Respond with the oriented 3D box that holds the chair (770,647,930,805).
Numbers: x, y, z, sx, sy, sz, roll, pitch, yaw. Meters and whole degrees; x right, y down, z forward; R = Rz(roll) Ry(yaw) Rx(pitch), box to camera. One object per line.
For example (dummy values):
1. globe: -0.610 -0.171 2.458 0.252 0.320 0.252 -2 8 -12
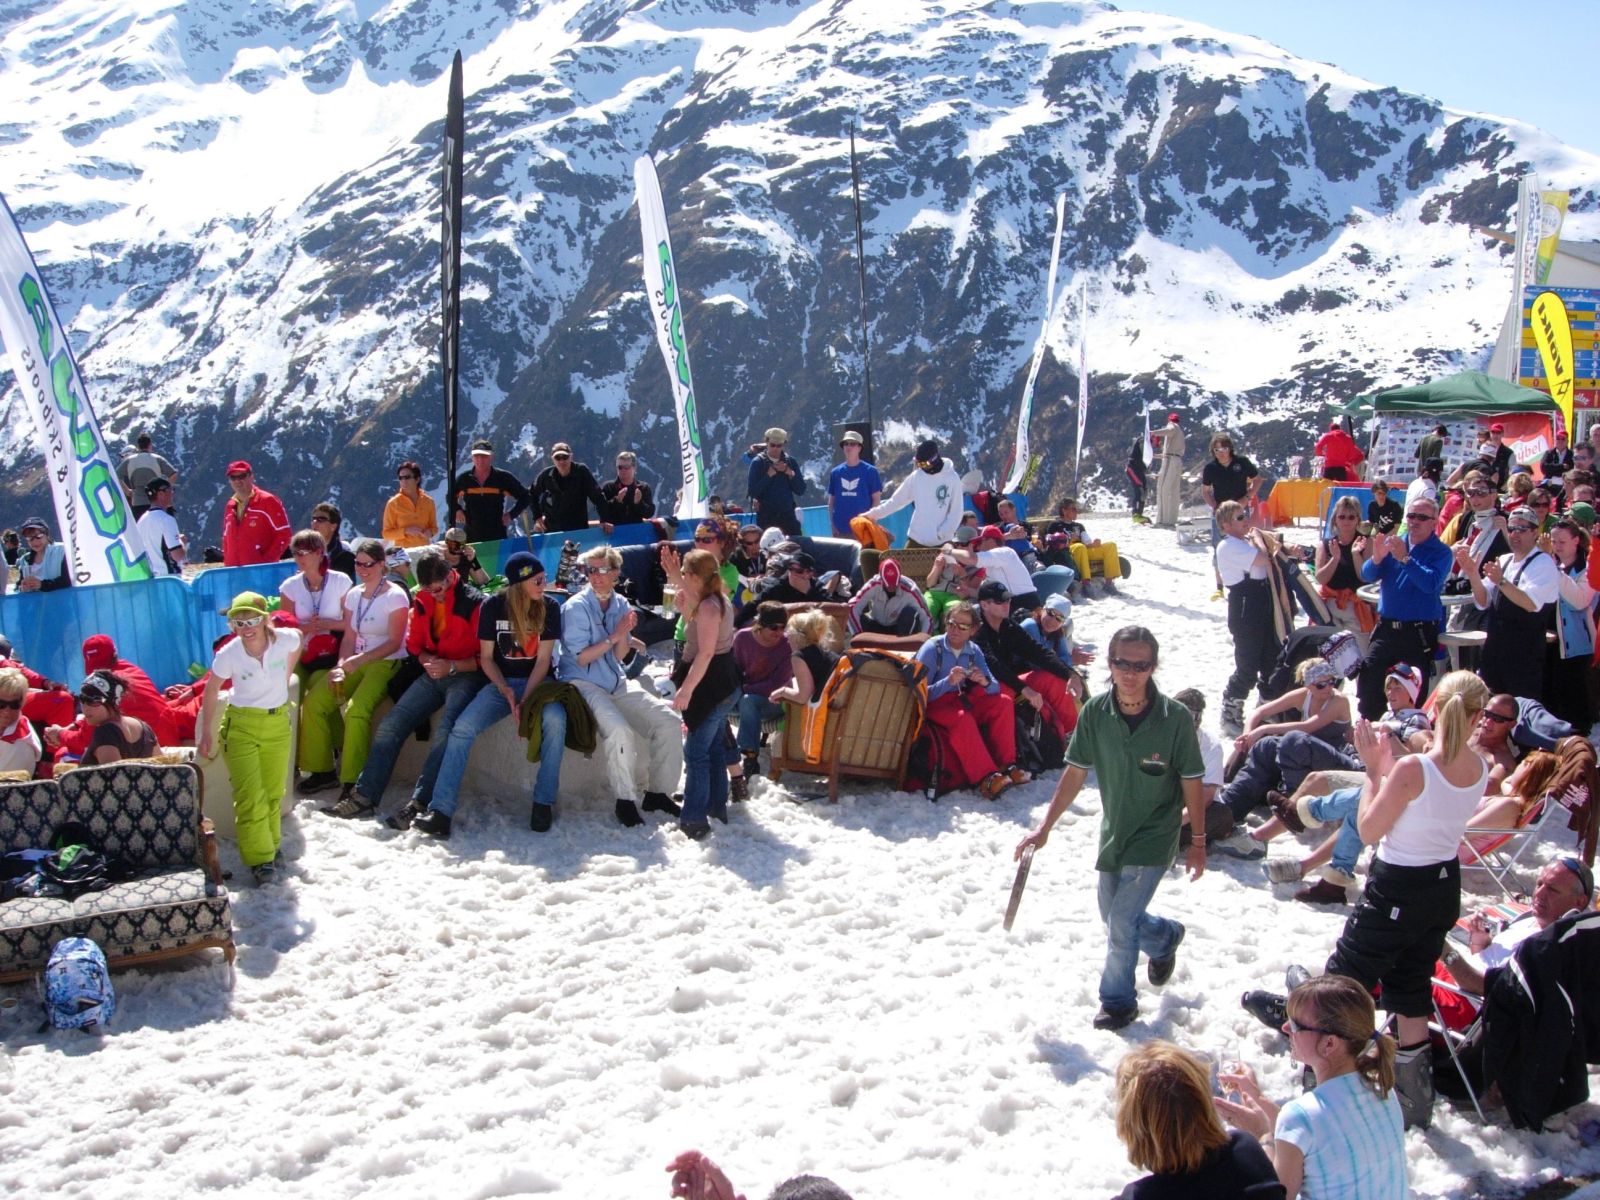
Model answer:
1. chair: 0.402 1.089 15.927 0.930 1.273 1.200 2 -3 -28
